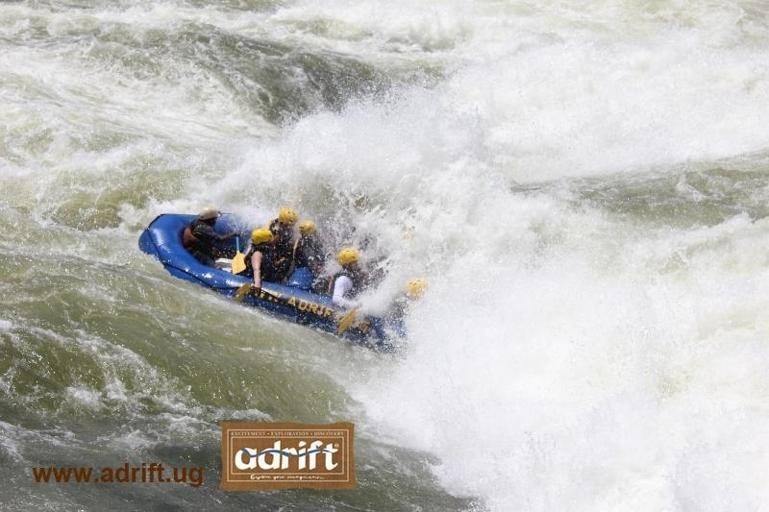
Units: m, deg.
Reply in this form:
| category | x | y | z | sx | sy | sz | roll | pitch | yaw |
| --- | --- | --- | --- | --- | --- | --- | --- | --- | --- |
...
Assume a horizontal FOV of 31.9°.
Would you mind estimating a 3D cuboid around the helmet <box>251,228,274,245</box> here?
| category | x | y | z | sx | sy | sz | roll | pitch | yaw |
| --- | --- | --- | --- | --- | --- | --- | --- | --- | --- |
| helmet | -3.681 | -0.560 | 40.175 | 0.629 | 0.438 | 0.377 | -7 | 78 | 2 |

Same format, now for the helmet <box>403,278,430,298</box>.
| category | x | y | z | sx | sy | sz | roll | pitch | yaw |
| --- | --- | --- | --- | --- | --- | --- | --- | --- | --- |
| helmet | 0.916 | 0.965 | 39.849 | 0.683 | 0.381 | 0.483 | -31 | 52 | -29 |

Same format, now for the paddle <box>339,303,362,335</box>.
| category | x | y | z | sx | sy | sz | roll | pitch | yaw |
| --- | --- | --- | --- | --- | --- | --- | --- | --- | --- |
| paddle | -1.102 | 1.886 | 39.394 | 0.449 | 0.205 | 0.830 | 36 | 86 | 20 |

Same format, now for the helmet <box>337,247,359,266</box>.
| category | x | y | z | sx | sy | sz | roll | pitch | yaw |
| --- | --- | --- | --- | --- | --- | --- | --- | --- | --- |
| helmet | -1.164 | 0.045 | 39.936 | 0.486 | 0.433 | 0.608 | 3 | 12 | 34 |

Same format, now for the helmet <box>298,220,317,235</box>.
| category | x | y | z | sx | sy | sz | roll | pitch | yaw |
| --- | --- | --- | --- | --- | --- | --- | --- | --- | --- |
| helmet | -2.345 | -0.818 | 40.455 | 0.505 | 0.366 | 0.331 | -27 | 58 | 6 |

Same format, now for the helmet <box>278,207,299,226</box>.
| category | x | y | z | sx | sy | sz | roll | pitch | yaw |
| --- | --- | --- | --- | --- | --- | --- | --- | --- | --- |
| helmet | -2.935 | -1.174 | 40.816 | 0.464 | 0.420 | 0.560 | 5 | 17 | -1 |
